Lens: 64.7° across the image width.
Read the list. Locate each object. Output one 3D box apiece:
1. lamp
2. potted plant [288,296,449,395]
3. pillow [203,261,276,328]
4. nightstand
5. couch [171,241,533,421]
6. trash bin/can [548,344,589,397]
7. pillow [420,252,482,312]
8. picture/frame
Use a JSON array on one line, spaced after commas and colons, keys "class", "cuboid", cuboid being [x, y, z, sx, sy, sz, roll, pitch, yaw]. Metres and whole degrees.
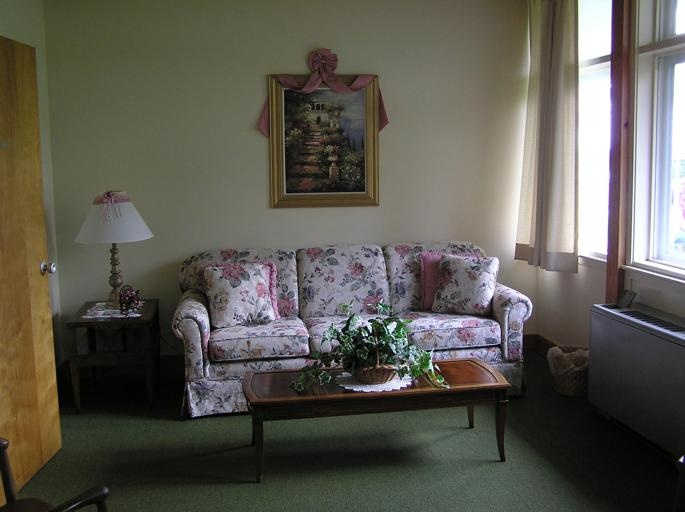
[{"class": "lamp", "cuboid": [-1.756, -0.063, 4.167, 0.481, 0.880, 0.366, 0, 8, 23]}, {"class": "potted plant", "cuboid": [0.163, 0.607, 3.460, 0.695, 0.363, 0.563, -1, -5, -6]}, {"class": "pillow", "cuboid": [-0.772, 0.301, 4.226, 0.545, 0.616, 0.177, 3, -31, -24]}, {"class": "nightstand", "cuboid": [-1.636, 0.802, 4.206, 0.690, 0.555, 0.551, 8, -6, 7]}, {"class": "couch", "cuboid": [0.072, 0.513, 4.373, 2.600, 1.256, 0.978, -2, 5, -9]}, {"class": "trash bin/can", "cuboid": [1.773, 0.865, 4.186, 0.322, 0.385, 0.368, 4, 13, 38]}, {"class": "pillow", "cuboid": [0.870, 0.222, 4.340, 0.371, 0.407, 0.146, -3, -16, 5]}, {"class": "picture/frame", "cuboid": [-0.196, -1.057, 4.673, 1.038, 1.314, 0.093, -1, 10, -4]}]
